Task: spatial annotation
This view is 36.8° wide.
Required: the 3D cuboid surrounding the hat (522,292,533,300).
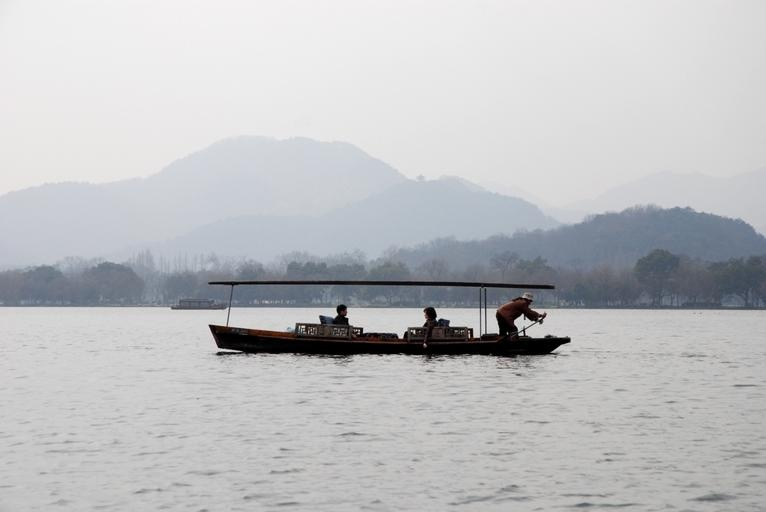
[{"bbox_3d":[9.200,2.566,74.297,0.597,0.289,0.564,20,11,22],"label":"hat"}]
